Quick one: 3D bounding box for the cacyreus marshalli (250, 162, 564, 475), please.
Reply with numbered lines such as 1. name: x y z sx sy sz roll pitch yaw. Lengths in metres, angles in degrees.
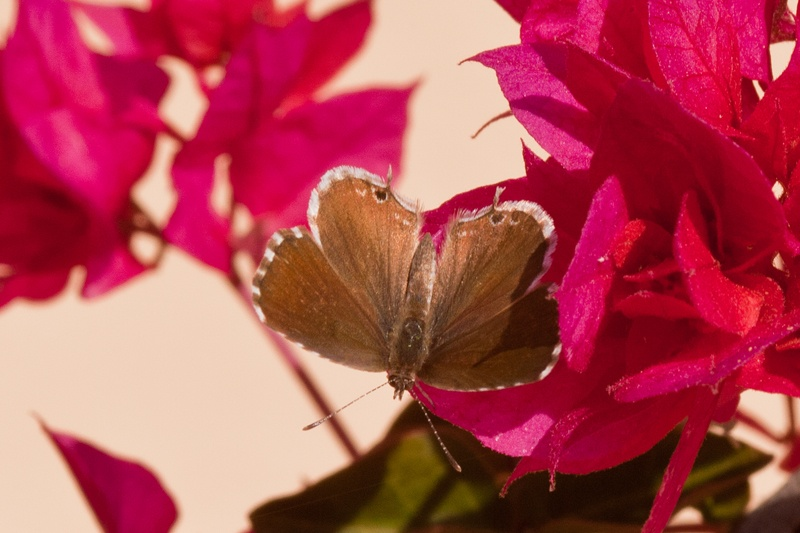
1. cacyreus marshalli: 0.008 0.024 0.566 0.183 0.159 0.059 12 -12 15
